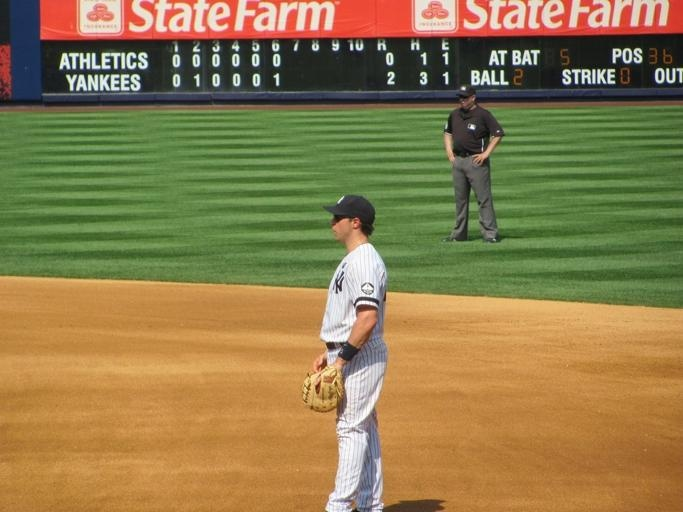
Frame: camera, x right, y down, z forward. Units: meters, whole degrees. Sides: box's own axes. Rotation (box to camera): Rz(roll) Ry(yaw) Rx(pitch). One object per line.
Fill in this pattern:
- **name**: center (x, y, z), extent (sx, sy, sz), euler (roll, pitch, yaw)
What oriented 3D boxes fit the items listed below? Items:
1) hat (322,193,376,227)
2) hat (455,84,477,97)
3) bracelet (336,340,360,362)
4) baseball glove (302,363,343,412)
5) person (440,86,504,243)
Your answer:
- **hat**: center (0.149, -0.605, 17.253), extent (0.502, 0.301, 0.374), euler (10, 6, 1)
- **hat**: center (2.149, -2.845, 23.600), extent (0.256, 0.194, 0.215), euler (-2, 7, -7)
- **bracelet**: center (0.084, 1.188, 17.093), extent (0.243, 0.203, 0.224), euler (46, 14, 35)
- **baseball glove**: center (-0.207, 1.598, 17.241), extent (0.405, 0.612, 0.249), euler (3, 8, -2)
- **person**: center (2.335, -1.620, 23.878), extent (0.976, 2.703, 0.663), euler (1, 7, 19)
